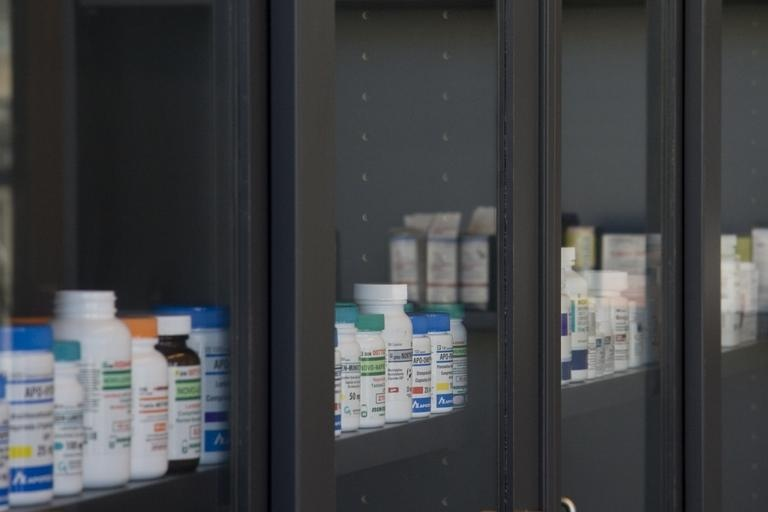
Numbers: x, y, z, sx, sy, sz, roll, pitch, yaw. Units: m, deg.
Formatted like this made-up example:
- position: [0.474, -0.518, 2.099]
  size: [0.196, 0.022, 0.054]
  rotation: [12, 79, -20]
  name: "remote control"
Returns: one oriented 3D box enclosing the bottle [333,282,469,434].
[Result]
- position: [0.039, 0.204, 2.314]
  size: [0.104, 0.296, 0.339]
  rotation: [-3, 0, 44]
  name: "bottle"
